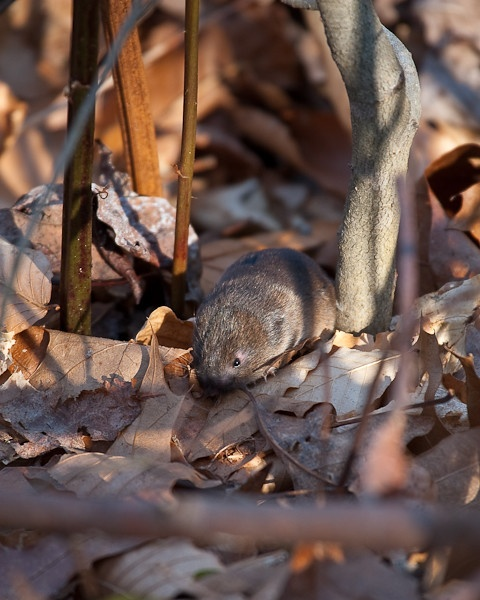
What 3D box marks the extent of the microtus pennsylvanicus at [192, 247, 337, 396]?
[{"bbox_3d":[0.097,0.086,2.666,0.610,0.351,0.388,-39,33,-30],"label":"microtus pennsylvanicus"}]
